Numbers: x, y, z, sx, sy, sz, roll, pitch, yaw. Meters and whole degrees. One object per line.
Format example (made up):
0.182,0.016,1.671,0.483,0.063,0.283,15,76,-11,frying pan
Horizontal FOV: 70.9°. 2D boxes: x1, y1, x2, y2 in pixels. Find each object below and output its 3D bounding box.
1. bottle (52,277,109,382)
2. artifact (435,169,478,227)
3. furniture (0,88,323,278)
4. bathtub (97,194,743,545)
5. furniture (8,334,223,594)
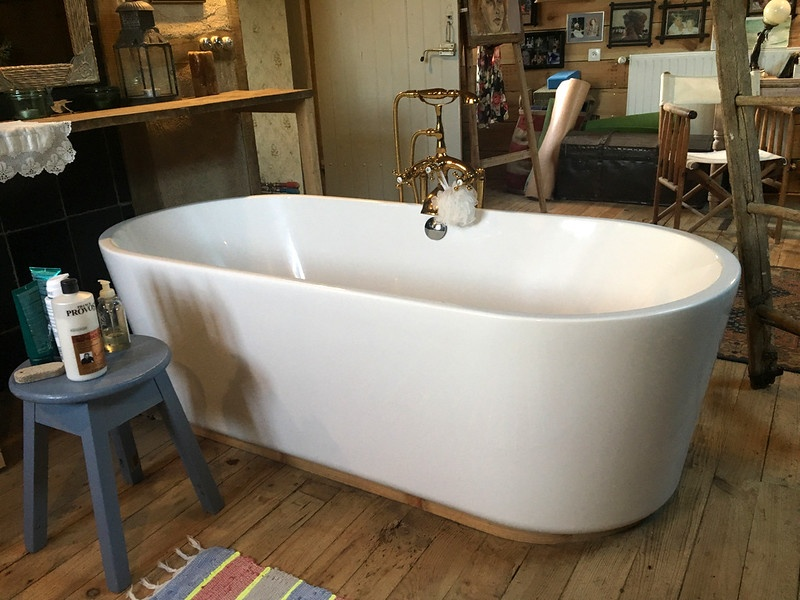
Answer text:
-0.892,0.076,1.551,0.120,0.276,0.107,6,24,20,bottle
0.214,-0.422,2.339,0.128,0.201,0.200,-14,32,-25,artifact
-1.235,-0.589,2.831,1.132,0.680,0.451,-11,25,-4,furniture
-0.089,0.109,2.199,2.326,0.769,1.116,12,26,31,bathtub
-0.875,0.521,1.747,0.431,0.587,0.395,18,35,27,furniture
